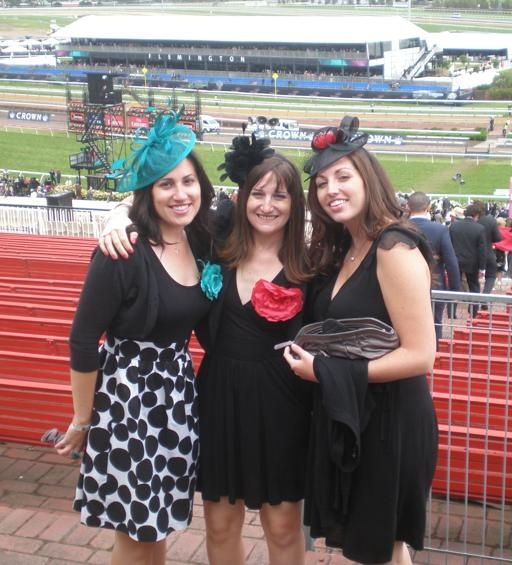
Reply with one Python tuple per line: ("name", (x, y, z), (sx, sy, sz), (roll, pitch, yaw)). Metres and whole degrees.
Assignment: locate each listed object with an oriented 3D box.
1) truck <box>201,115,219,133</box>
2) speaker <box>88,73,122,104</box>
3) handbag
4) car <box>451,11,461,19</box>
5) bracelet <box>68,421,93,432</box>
("truck", (-4.192, -13.211, 57.396), (1.901, 0.919, 1.169), (27, 33, 35))
("speaker", (-7.919, -10.039, 35.963), (1.538, 1.815, 1.873), (9, 17, 23))
("handbag", (0.298, 0.204, 2.514), (0.426, 0.137, 0.136), (-1, 11, 16))
("car", (36.708, -49.144, 127.256), (1.974, 0.899, 2.514), (-6, 13, -6))
("bracelet", (-0.659, 0.536, 2.606), (0.054, 0.021, 0.042), (4, 1, 34))
